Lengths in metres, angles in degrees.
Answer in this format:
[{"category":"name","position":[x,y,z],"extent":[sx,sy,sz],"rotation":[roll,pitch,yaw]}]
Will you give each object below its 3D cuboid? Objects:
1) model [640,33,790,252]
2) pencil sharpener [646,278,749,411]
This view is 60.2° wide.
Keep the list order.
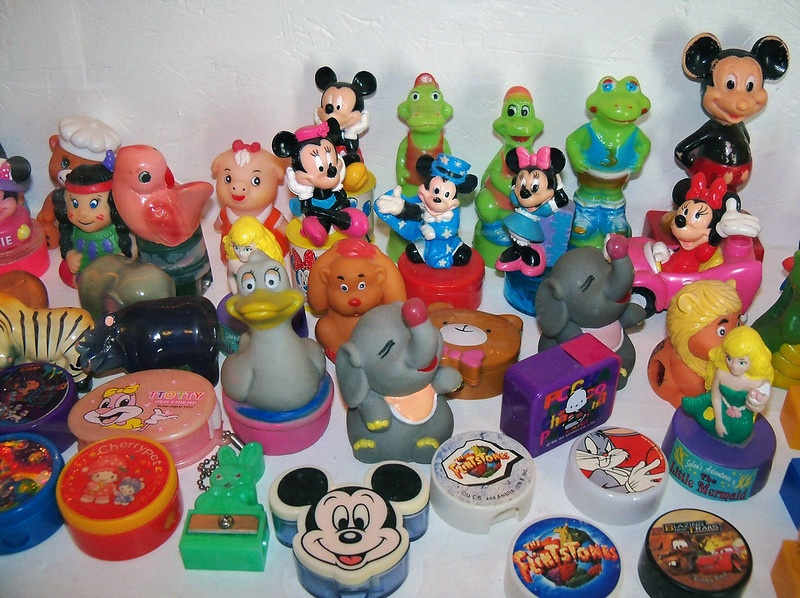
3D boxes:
[{"category":"model","position":[1.518,-0.716,3.237],"extent":[0.472,0.927,0.340],"rotation":[-6,28,3]},{"category":"pencil sharpener","position":[1.162,0.161,2.746],"extent":[0.340,0.546,0.351],"rotation":[-11,34,-12]}]
